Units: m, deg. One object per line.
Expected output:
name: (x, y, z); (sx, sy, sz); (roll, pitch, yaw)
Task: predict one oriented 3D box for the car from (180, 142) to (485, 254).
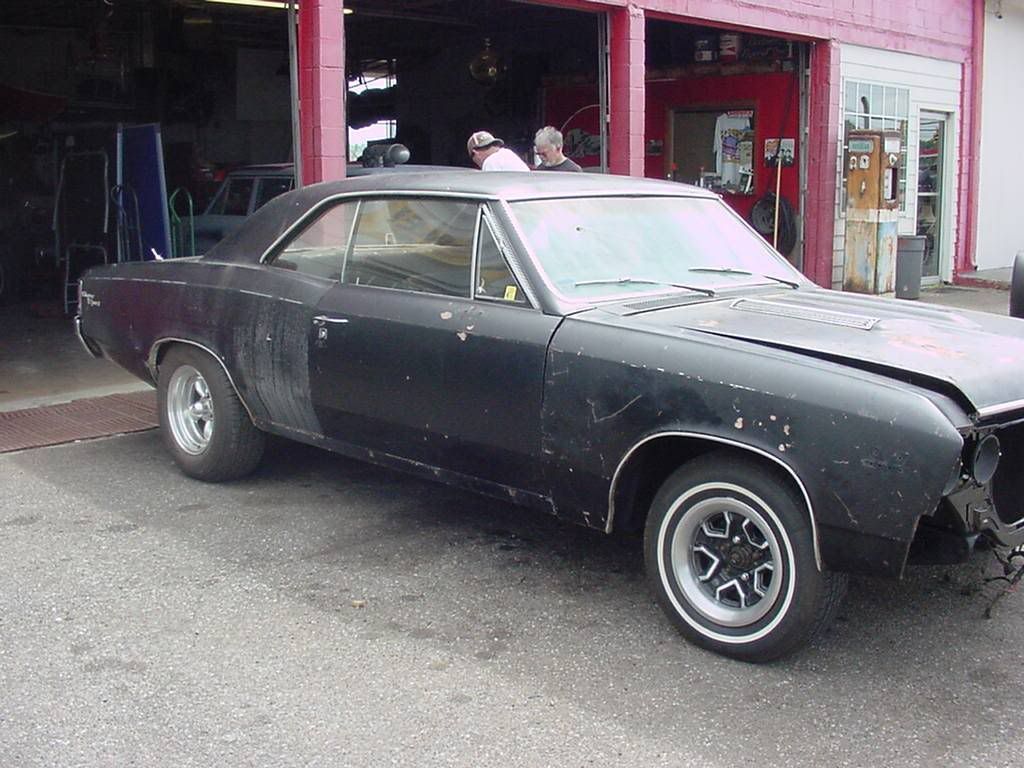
car: (-2.935, -2.423, 11.123); (2.761, 1.477, 1.711); (1, 14, 24)
